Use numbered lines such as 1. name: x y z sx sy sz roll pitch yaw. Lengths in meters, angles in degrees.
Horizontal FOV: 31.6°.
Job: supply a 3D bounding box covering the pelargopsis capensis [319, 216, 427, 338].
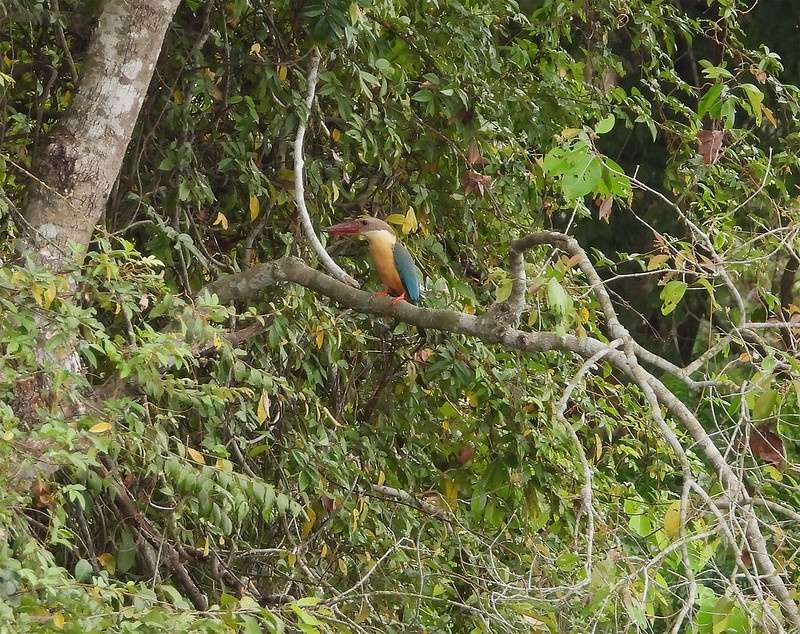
1. pelargopsis capensis: -0.071 -0.251 6.179 0.488 0.431 0.202 -7 17 -27
